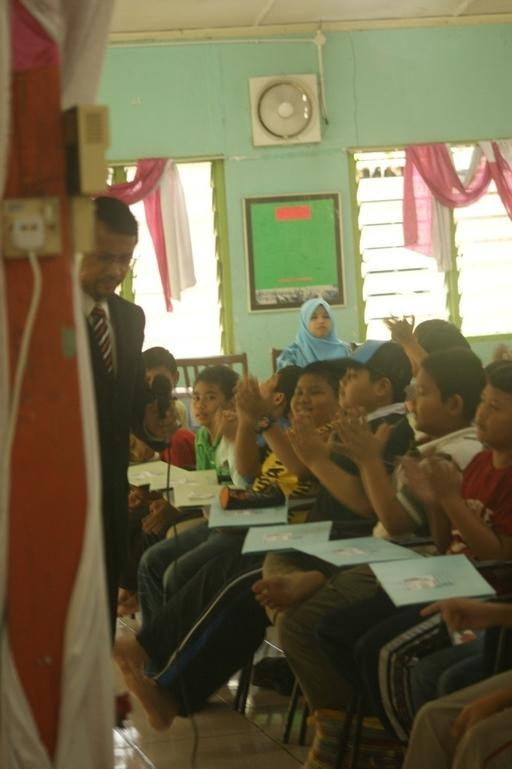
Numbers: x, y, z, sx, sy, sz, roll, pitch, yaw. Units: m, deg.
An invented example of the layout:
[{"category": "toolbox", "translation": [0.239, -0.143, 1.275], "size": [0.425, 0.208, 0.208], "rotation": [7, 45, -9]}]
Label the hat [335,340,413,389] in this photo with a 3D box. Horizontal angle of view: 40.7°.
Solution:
[{"category": "hat", "translation": [0.394, -0.069, 2.258], "size": [0.188, 0.103, 0.121], "rotation": [25, 7, 4]}]

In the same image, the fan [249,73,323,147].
[{"category": "fan", "translation": [0.094, -0.882, 2.204], "size": [0.230, 0.231, 0.118], "rotation": [-5, 3, 1]}]

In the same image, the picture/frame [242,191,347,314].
[{"category": "picture/frame", "translation": [0.122, -0.427, 2.202], "size": [0.338, 0.366, 0.014], "rotation": [0, 9, 21]}]

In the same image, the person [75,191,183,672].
[{"category": "person", "translation": [-0.378, 0.072, 2.011], "size": [0.182, 0.854, 0.501], "rotation": [-5, 3, 3]}]

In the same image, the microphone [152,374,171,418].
[{"category": "microphone", "translation": [-0.302, 0.034, 2.210], "size": [0.058, 0.110, 0.070], "rotation": [-2, 0, -35]}]
